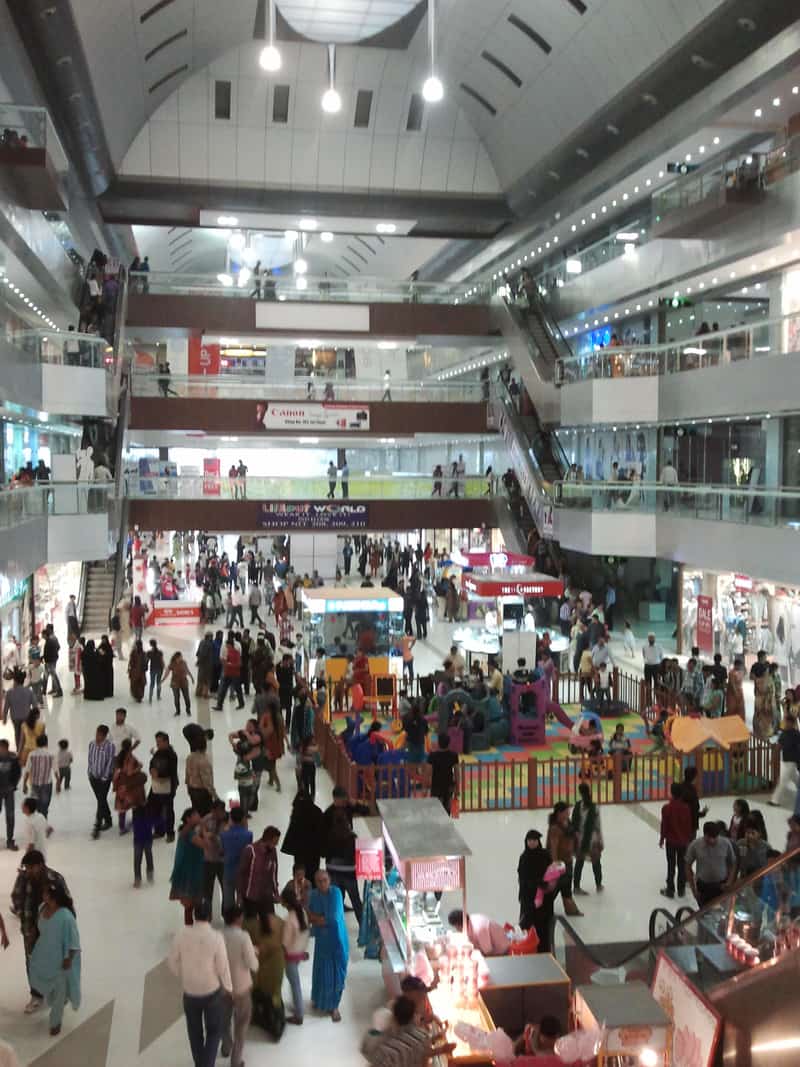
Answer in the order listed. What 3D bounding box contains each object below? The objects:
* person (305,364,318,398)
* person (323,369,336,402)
[{"bbox_3d":[-3.165,-5.387,29.482,0.377,1.203,0.404,1,-3,-5],"label":"person"},{"bbox_3d":[-2.566,-5.358,29.575,0.412,1.172,0.407,3,-4,-38],"label":"person"}]
